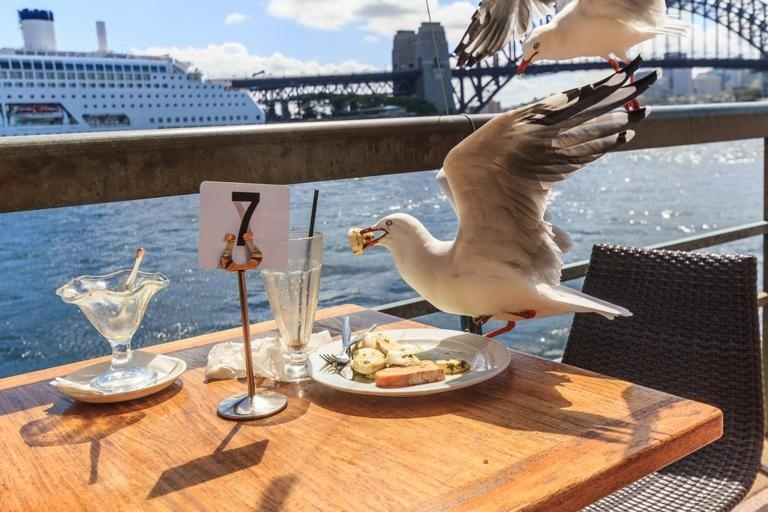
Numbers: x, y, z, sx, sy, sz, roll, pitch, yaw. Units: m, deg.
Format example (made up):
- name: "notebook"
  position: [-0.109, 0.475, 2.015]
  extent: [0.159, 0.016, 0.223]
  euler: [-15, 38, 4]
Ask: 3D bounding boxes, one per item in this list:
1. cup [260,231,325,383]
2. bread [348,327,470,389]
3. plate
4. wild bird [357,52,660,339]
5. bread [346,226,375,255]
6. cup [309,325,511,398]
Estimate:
- name: "cup"
  position: [-0.153, 0.085, 1.379]
  extent: [0.097, 0.270, 0.108]
  euler: [2, 2, -6]
- name: "bread"
  position: [0.017, 0.164, 1.329]
  extent: [0.151, 0.041, 0.097]
  euler: [8, 14, 34]
- name: "plate"
  position: [-0.449, 0.213, 1.346]
  extent: [0.164, 0.085, 0.208]
  euler: [5, 9, 29]
- name: "wild bird"
  position: [0.185, -0.089, 1.552]
  extent: [0.547, 0.403, 0.655]
  euler: [-3, -14, 2]
- name: "bread"
  position: [-0.044, -0.032, 1.493]
  extent: [0.058, 0.037, 0.031]
  euler: [-32, -11, -31]
- name: "cup"
  position: [0.074, 0.226, 1.360]
  extent: [0.341, 0.150, 0.096]
  euler: [-9, -9, -3]
